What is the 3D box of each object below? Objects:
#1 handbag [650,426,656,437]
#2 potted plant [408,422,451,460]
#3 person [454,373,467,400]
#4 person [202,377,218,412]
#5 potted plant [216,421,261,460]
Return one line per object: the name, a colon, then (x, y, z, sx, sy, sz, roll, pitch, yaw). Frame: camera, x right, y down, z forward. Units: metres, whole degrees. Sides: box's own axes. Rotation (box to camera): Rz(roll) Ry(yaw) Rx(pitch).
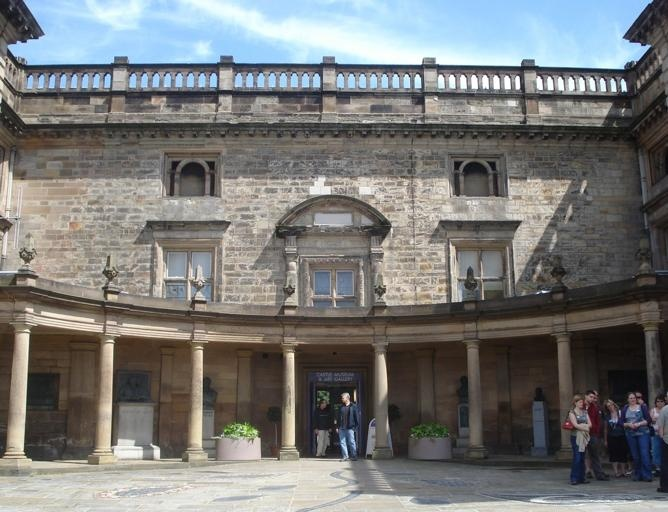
handbag: (8.182, 4.483, 22.386, 0.211, 0.277, 0.070, -4, 9, -39)
potted plant: (3.201, 6.088, 28.627, 1.214, 0.907, 1.191, 10, -18, -30)
person: (4.543, 4.693, 30.991, 0.404, 0.913, 0.152, -6, -17, 9)
person: (-4.292, 4.820, 30.688, 0.539, 1.099, 0.218, 3, -18, -19)
potted plant: (-3.188, 6.069, 28.404, 1.705, 1.146, 1.262, -12, -14, 43)
